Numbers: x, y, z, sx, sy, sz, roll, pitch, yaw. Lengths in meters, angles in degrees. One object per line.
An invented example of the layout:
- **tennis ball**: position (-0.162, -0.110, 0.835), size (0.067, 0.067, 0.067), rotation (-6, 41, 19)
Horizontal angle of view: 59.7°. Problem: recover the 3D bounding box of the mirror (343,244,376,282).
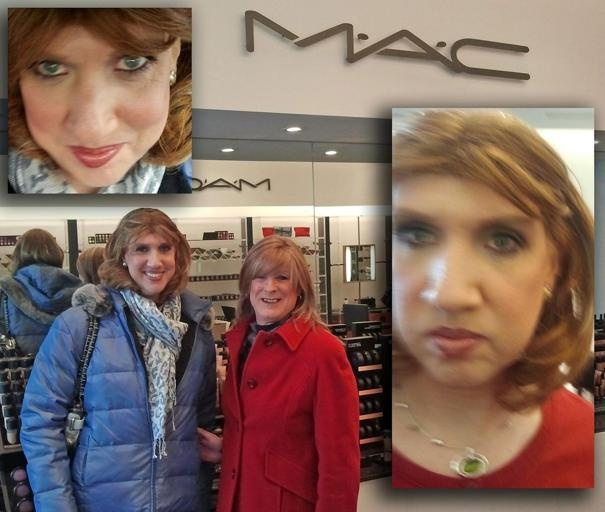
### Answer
- **mirror**: position (0.362, 0.051, 3.439), size (0.285, 0.232, 0.016), rotation (-2, 0, -39)
